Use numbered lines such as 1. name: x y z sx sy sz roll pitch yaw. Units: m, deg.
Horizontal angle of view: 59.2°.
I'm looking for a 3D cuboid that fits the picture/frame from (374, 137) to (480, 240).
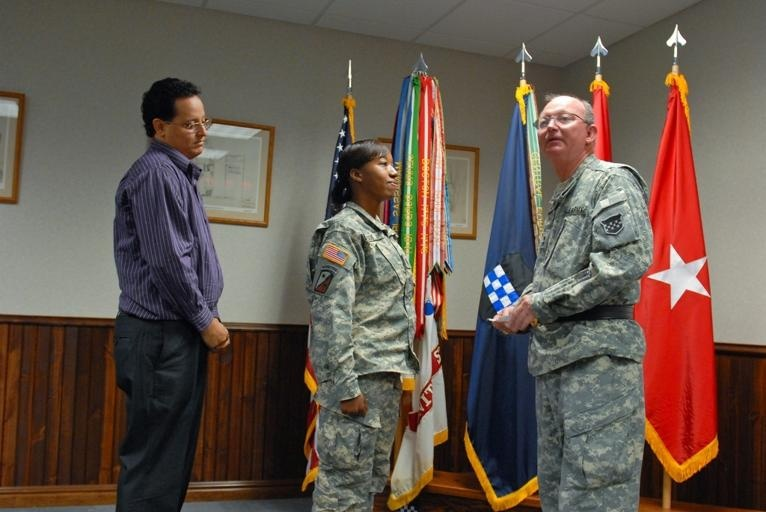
1. picture/frame: 0.295 -0.484 4.742 0.773 1.029 0.041 1 -6 -18
